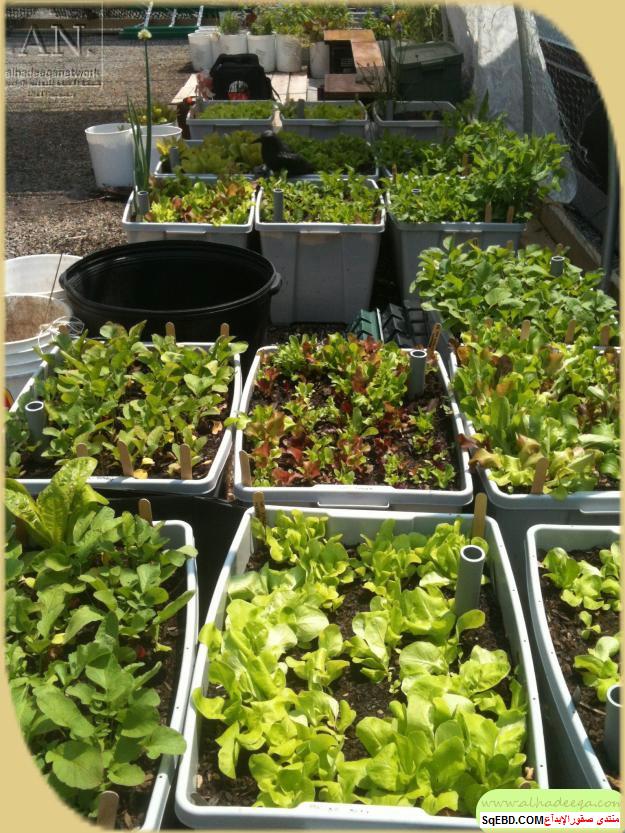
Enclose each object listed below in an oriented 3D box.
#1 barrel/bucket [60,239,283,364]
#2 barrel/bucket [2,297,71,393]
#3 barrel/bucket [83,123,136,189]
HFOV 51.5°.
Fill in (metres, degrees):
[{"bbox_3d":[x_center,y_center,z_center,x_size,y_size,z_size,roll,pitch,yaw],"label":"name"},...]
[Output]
[{"bbox_3d":[-0.615,-0.542,2.886,0.755,0.551,0.681,1,33,-2],"label":"barrel/bucket"},{"bbox_3d":[-1.082,-0.270,2.549,0.303,0.249,0.335,2,39,-6],"label":"barrel/bucket"},{"bbox_3d":[-1.855,-2.385,6.074,0.378,0.494,0.558,-8,17,-14],"label":"barrel/bucket"}]
